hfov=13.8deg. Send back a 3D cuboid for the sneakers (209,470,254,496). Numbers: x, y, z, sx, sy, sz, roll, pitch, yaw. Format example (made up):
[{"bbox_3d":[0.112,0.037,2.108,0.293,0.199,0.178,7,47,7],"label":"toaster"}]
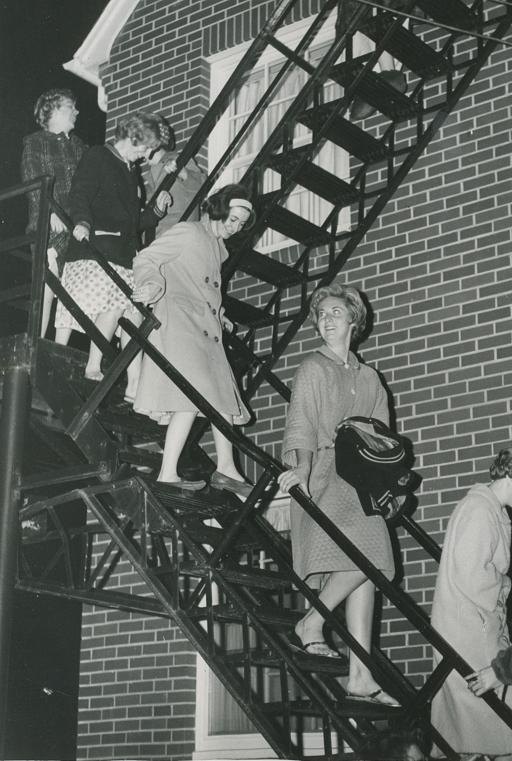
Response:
[{"bbox_3d":[-0.133,0.530,11.021,0.262,0.113,0.101,16,-23,13],"label":"sneakers"}]

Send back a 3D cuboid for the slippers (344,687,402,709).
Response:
[{"bbox_3d":[0.585,1.537,10.250,0.253,0.090,0.102,0,-23,15],"label":"slippers"}]

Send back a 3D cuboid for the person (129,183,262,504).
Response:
[{"bbox_3d":[-0.336,-0.227,11.168,0.726,1.641,0.548,6,-8,-20],"label":"person"}]

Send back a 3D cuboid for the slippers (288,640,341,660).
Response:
[{"bbox_3d":[0.292,1.341,10.547,0.234,0.063,0.105,-4,-26,30],"label":"slippers"}]
